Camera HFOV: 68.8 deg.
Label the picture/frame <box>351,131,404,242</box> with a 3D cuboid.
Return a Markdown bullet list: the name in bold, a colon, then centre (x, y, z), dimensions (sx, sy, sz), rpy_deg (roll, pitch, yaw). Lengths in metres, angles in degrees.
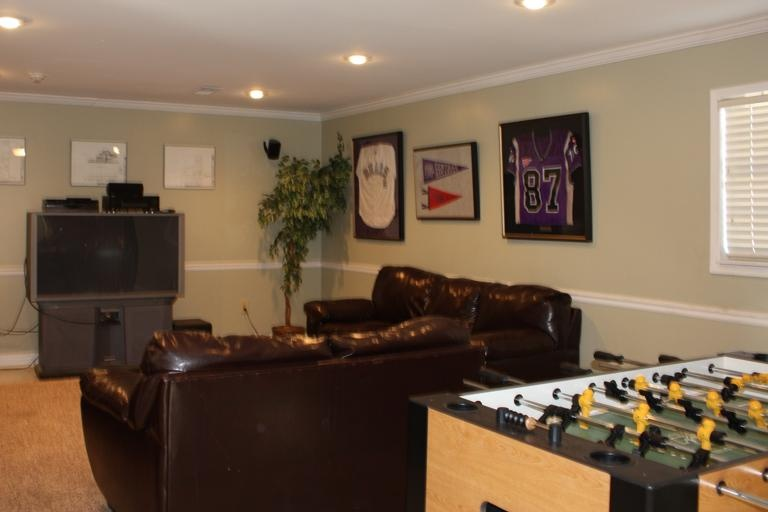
- **picture/frame**: centre (-0.083, -0.845, 6.897), dimensions (0.199, 1.289, 0.910), rpy_deg (-2, 4, -34)

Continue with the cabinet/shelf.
- **cabinet/shelf**: centre (-2.807, 0.803, 5.515), dimensions (0.904, 0.534, 0.360), rpy_deg (0, -2, -27)

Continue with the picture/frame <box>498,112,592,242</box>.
- **picture/frame**: centre (1.449, -0.705, 5.116), dimensions (0.119, 1.107, 0.917), rpy_deg (-3, 5, -41)

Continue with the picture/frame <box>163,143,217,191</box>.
- **picture/frame**: centre (-2.479, -1.146, 7.156), dimensions (0.645, 0.570, 0.027), rpy_deg (0, -1, 1)

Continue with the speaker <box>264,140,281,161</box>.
- **speaker**: centre (-1.482, -1.440, 7.510), dimensions (0.249, 0.303, 0.248), rpy_deg (-1, -4, -13)

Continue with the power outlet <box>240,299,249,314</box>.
- **power outlet**: centre (-1.853, 0.662, 7.479), dimensions (0.104, 0.183, 0.022), rpy_deg (-2, 4, -32)

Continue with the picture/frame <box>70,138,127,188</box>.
- **picture/frame**: centre (-3.416, -1.129, 6.809), dimensions (0.643, 0.577, 0.059), rpy_deg (-2, -5, -15)
